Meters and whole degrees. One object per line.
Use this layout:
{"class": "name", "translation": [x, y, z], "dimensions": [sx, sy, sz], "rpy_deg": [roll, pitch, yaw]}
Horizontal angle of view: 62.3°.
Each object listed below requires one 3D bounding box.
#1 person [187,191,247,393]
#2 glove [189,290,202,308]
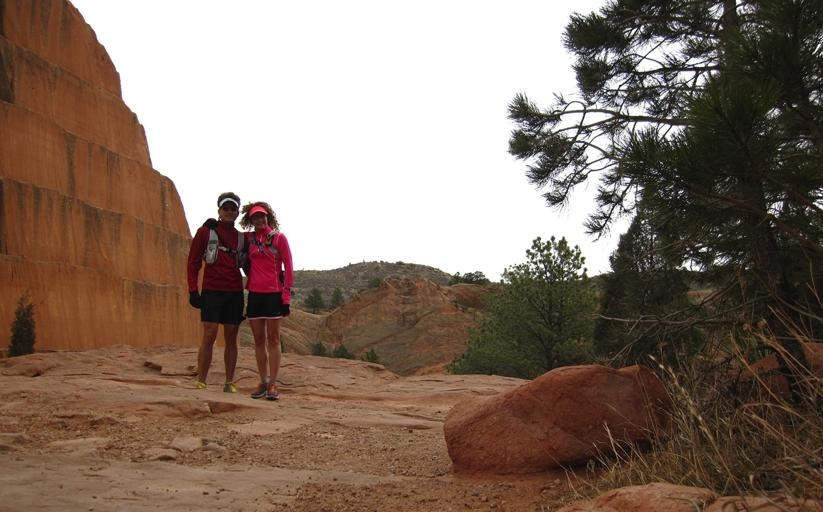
{"class": "person", "translation": [-3.209, 0.578, 11.206], "dimensions": [0.918, 3.220, 0.757], "rpy_deg": [4, 4, -13]}
{"class": "glove", "translation": [-3.576, 0.710, 11.252], "dimensions": [0.174, 0.318, 0.548], "rpy_deg": [4, 5, -17]}
